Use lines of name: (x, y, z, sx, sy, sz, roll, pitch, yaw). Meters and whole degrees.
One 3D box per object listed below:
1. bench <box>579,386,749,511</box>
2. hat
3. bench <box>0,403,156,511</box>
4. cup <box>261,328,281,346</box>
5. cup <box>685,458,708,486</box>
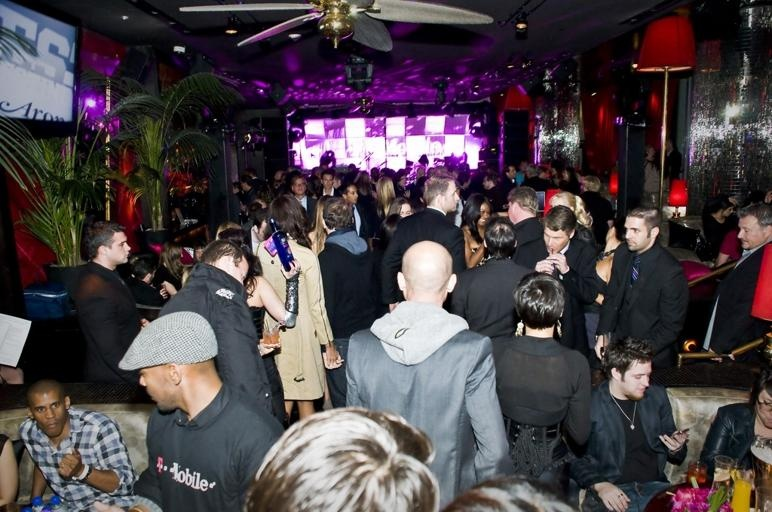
bench: (2.293, 1.298, 4.477, 0.856, 1.260, 0.977, 5, 10, 36)
hat: (-1.137, 0.425, 2.824, 0.399, 0.209, 0.298, -1, 5, -9)
bench: (-2.252, 1.422, 3.858, 1.047, 0.703, 0.179, 2, 7, 0)
cup: (-0.797, 0.565, 3.735, 0.102, 0.120, 0.081, -2, 8, -27)
cup: (1.850, 1.287, 3.231, 0.121, 0.147, 0.138, -1, -3, 21)
